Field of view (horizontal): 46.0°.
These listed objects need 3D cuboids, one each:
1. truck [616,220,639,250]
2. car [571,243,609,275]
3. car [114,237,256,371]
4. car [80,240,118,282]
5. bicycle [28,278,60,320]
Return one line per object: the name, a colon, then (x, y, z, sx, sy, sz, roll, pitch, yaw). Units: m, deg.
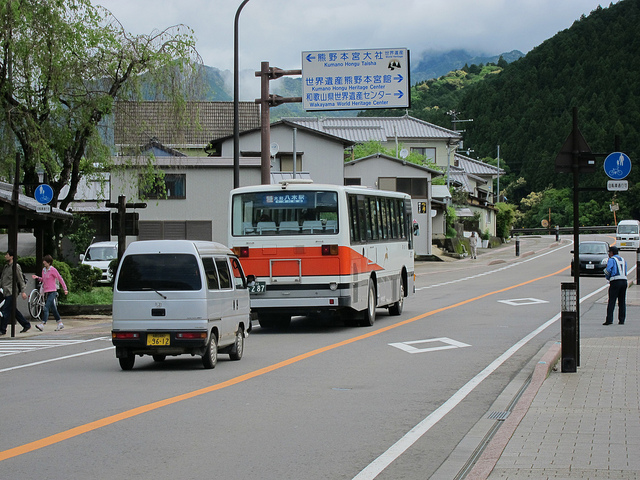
truck: (25.998, -0.384, 63.611, 1.865, 2.607, 5.015, 1, 4, 13)
car: (12.366, 0.901, 34.282, 1.571, 1.598, 3.058, -1, -5, 16)
car: (-2.801, 1.355, 16.180, 2.062, 2.488, 4.073, -1, -2, 5)
car: (-11.479, 1.105, 39.121, 1.778, 1.554, 3.234, -1, -3, -2)
bicycle: (-9.183, 1.875, 25.141, 0.909, 1.341, 2.126, -3, -2, 3)
